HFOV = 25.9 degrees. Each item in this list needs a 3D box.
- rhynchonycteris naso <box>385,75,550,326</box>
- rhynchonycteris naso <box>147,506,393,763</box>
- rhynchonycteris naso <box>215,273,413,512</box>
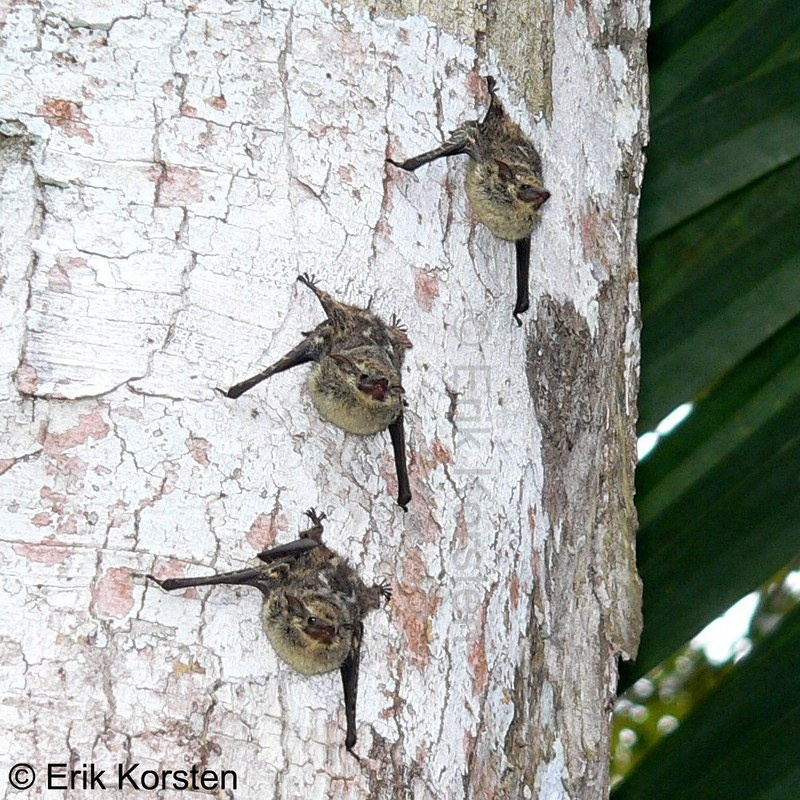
[{"bbox_3d":[0.337,-0.758,6.302,0.341,0.785,0.984,-11,-16,35],"label":"rhynchonycteris naso"},{"bbox_3d":[-0.365,0.680,5.704,0.786,0.857,0.307,21,-38,-21],"label":"rhynchonycteris naso"},{"bbox_3d":[-0.191,-0.061,5.825,0.713,0.608,0.185,24,-17,-22],"label":"rhynchonycteris naso"}]
